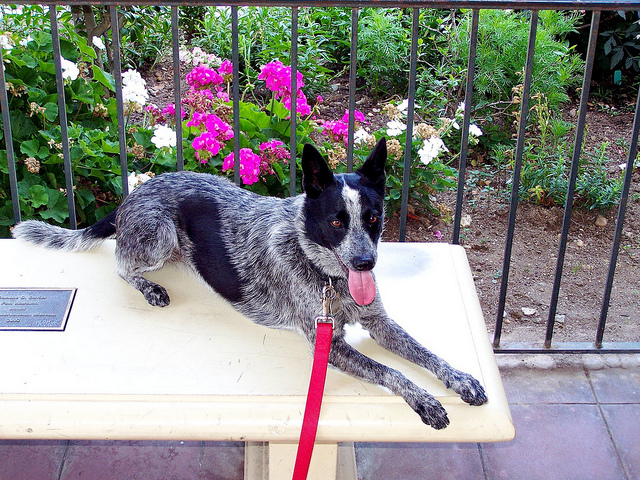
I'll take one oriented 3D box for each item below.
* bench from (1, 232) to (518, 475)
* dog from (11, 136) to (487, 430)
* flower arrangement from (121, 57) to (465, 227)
[{"bbox_3d":[-0.466,0.590,2.770,2.447,1.161,1.215,1,51,-3],"label":"bench"},{"bbox_3d":[-0.444,-0.075,2.681,2.649,0.971,0.749,19,26,27],"label":"dog"},{"bbox_3d":[-0.281,-0.544,4.418,2.426,0.882,1.599,11,37,3],"label":"flower arrangement"}]
